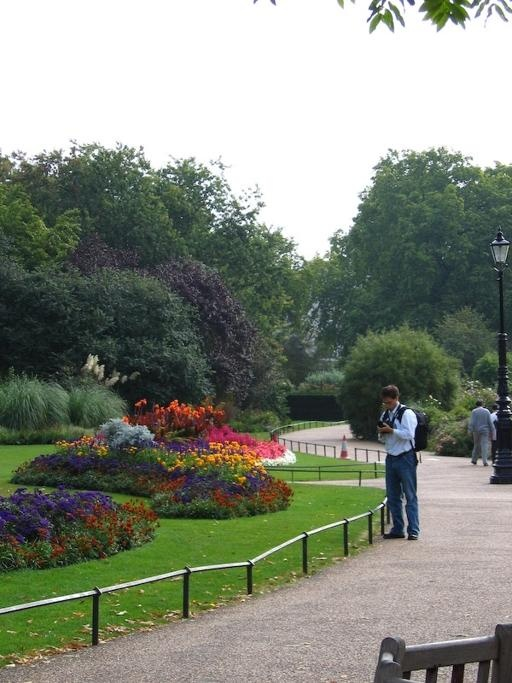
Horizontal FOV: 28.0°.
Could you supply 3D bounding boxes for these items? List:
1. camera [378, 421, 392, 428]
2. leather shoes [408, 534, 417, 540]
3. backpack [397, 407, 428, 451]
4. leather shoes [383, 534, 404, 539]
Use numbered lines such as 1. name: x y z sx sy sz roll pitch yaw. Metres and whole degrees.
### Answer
1. camera: 1.369 0.892 11.018 0.174 0.077 0.086 -4 -1 -37
2. leather shoes: 1.669 2.079 10.871 0.100 0.066 0.129 -3 -7 6
3. backpack: 1.715 0.931 11.121 0.430 0.383 0.301 2 -1 14
4. leather shoes: 1.507 2.116 11.195 0.203 0.075 0.077 5 -5 4
